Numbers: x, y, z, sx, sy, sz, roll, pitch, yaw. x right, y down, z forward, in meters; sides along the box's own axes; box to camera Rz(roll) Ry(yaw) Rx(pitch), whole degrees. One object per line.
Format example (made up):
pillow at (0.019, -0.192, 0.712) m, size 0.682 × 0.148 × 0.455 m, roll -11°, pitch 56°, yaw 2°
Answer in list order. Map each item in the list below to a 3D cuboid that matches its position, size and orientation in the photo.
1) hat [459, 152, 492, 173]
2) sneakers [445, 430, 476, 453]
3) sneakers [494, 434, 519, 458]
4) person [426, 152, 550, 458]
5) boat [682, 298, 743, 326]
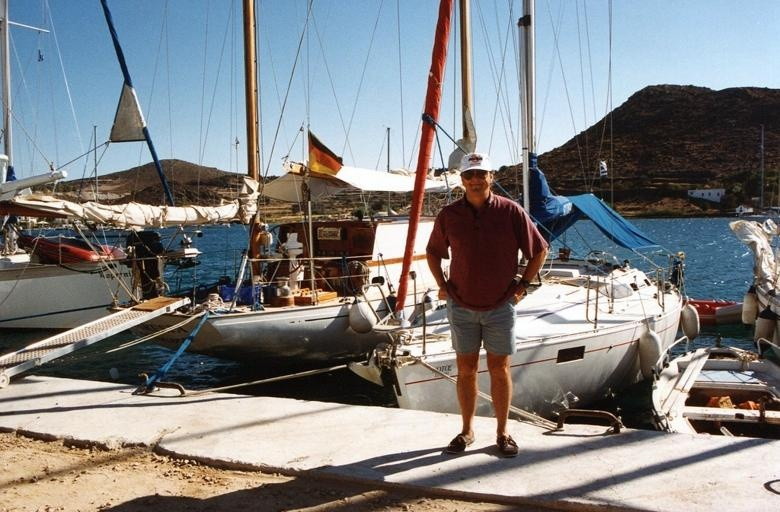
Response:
hat at (0.787, -0.879, 5.856) m, size 0.264 × 0.187 × 0.257 m, roll 3°, pitch 15°, yaw 18°
sneakers at (0.647, 1.772, 5.903) m, size 0.127 × 0.101 × 0.308 m, roll -3°, pitch -6°, yaw 36°
sneakers at (1.089, 1.771, 5.835) m, size 0.206 × 0.176 × 0.147 m, roll 1°, pitch 15°, yaw 8°
person at (0.876, 0.428, 5.913) m, size 1.104 × 2.740 × 0.880 m, roll 1°, pitch 16°, yaw 11°
boat at (8.736, 1.465, 16.891) m, size 1.103 × 0.489 × 1.117 m, roll 1°, pitch 14°, yaw 9°
